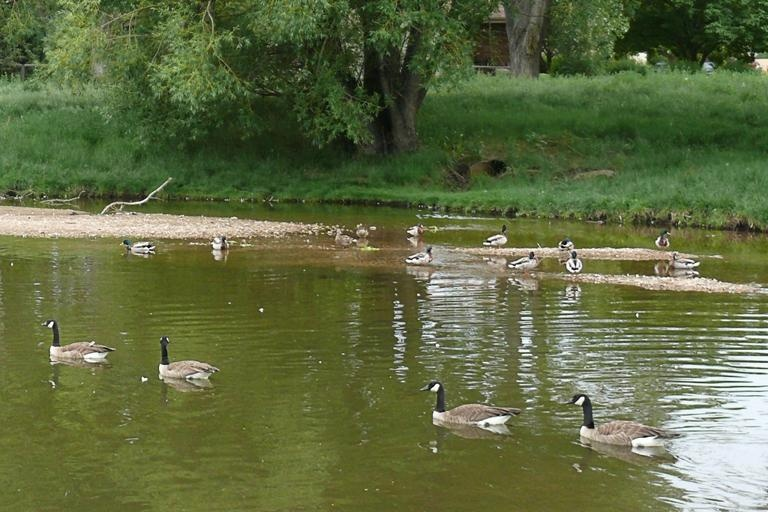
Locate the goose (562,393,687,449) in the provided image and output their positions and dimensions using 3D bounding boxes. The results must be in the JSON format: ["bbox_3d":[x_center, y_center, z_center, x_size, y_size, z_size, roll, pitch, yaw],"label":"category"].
[{"bbox_3d":[8.033,5.578,41.710,3.189,1.643,0.727,1,14,10],"label":"goose"}]

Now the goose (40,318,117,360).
[{"bbox_3d":[-11.290,3.177,45.351,2.703,1.313,1.105,4,14,20],"label":"goose"}]

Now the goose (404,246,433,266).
[{"bbox_3d":[1.628,0.075,57.016,1.303,0.983,0.672,-1,-1,6],"label":"goose"}]

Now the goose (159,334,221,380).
[{"bbox_3d":[-7.251,3.703,44.624,2.788,1.740,0.978,-5,-2,25],"label":"goose"}]

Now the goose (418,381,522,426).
[{"bbox_3d":[2.955,5.059,42.536,3.159,1.356,1.042,1,14,12],"label":"goose"}]

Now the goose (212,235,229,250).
[{"bbox_3d":[-7.879,-0.568,59.388,0.597,0.554,0.828,2,-5,-6],"label":"goose"}]

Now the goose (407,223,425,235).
[{"bbox_3d":[1.587,-1.286,63.181,0.898,0.671,0.495,2,9,31],"label":"goose"}]
